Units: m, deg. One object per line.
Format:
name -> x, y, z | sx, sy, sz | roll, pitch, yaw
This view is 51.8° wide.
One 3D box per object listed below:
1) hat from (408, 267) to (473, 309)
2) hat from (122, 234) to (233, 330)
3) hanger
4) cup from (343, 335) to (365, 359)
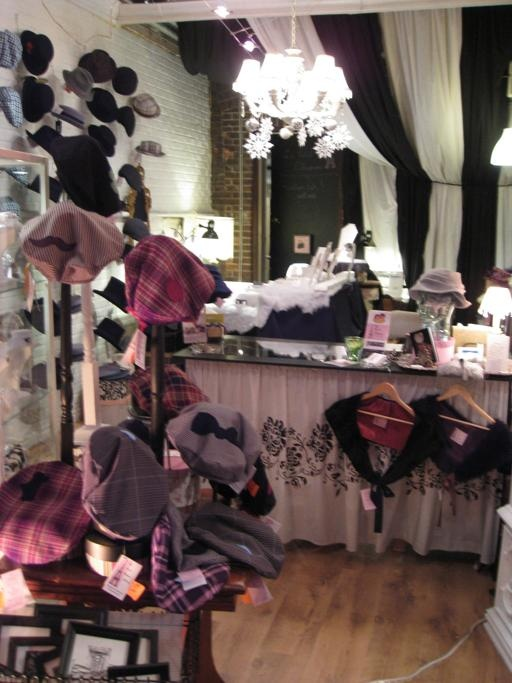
hat -> 0.954, -0.256, 2.714 | 0.236, 0.124, 0.226 | 6, 4, 5
hat -> -0.207, -0.145, 1.291 | 0.210, 0.232, 0.159 | 0, 8, 4
hanger -> 0.750, 0.249, 2.482 | 0.814, 0.211, 0.037 | 2, 9, 12
cup -> 0.508, 0.026, 2.664 | 0.099, 0.110, 0.098 | -1, 10, 0
